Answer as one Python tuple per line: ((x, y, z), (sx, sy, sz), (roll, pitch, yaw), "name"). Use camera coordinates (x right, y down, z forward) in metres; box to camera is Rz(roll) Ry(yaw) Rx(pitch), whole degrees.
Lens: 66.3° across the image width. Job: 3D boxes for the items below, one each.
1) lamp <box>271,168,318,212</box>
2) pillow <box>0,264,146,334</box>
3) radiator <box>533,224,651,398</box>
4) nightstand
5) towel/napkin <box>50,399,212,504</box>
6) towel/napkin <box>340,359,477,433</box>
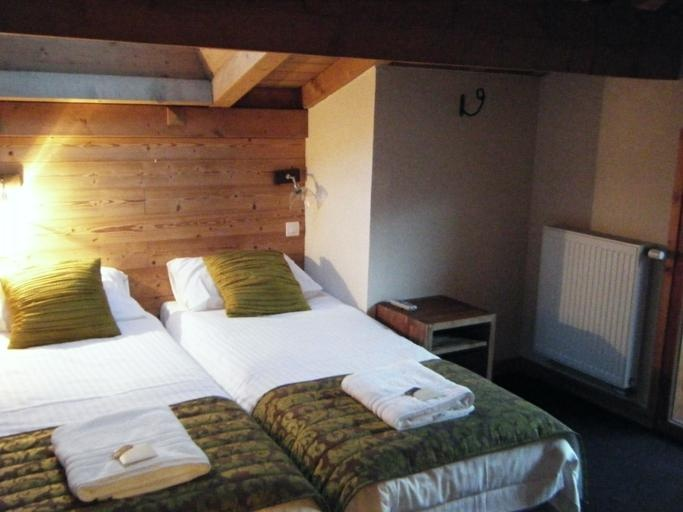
((-0.328, -0.536, 4.135), (0.327, 0.310, 0.163), (-12, -8, -8), "lamp")
((-1.656, 0.291, 3.620), (0.163, 0.520, 0.564), (-26, -13, 32), "pillow")
((1.676, 0.349, 3.438), (0.161, 1.144, 1.014), (-3, 13, -23), "radiator")
((0.627, 0.638, 3.599), (0.685, 0.614, 0.524), (-2, 14, -34), "nightstand")
((-0.849, 0.764, 2.061), (0.448, 0.156, 0.538), (-13, 14, -37), "towel/napkin")
((0.294, 0.631, 2.450), (0.323, 0.075, 0.313), (-4, 11, -28), "towel/napkin")
